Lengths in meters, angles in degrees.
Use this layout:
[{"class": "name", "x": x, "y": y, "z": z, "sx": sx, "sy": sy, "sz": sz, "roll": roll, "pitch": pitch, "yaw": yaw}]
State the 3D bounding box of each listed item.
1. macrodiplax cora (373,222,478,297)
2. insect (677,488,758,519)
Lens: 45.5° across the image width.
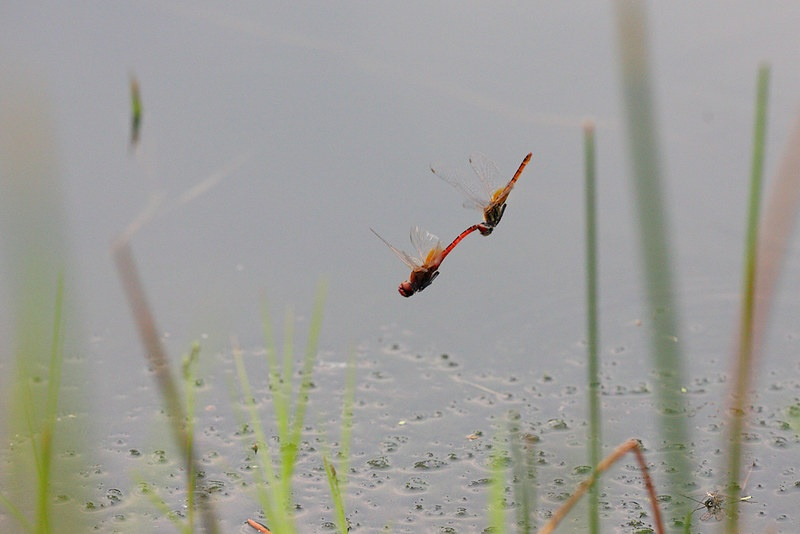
[{"class": "macrodiplax cora", "x": 0.034, "y": -0.028, "z": 1.944, "sx": 0.085, "sy": 0.165, "sz": 0.158, "roll": 17, "pitch": -38, "yaw": 49}, {"class": "insect", "x": 0.647, "y": 0.466, "z": 1.934, "sx": 0.097, "sy": 0.058, "sz": 0.022, "roll": -23, "pitch": -46, "yaw": -15}]
